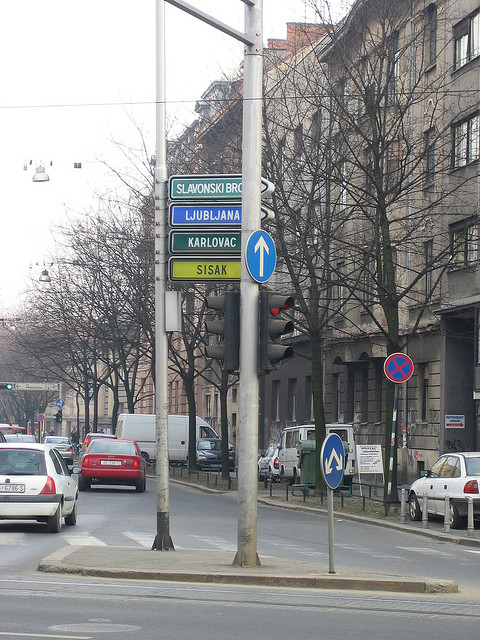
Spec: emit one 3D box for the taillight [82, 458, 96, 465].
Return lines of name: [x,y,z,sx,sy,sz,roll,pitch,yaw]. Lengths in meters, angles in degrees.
taillight: [-3.307,3.091,33.732,0.374,0.145,0.038,-6,-9,37]

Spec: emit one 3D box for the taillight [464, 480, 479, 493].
taillight: [3.761,2.682,24.732,0.150,0.209,0.160,9,-9,-30]

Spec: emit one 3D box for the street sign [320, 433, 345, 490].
street sign: [1.007,1.501,16.471,0.229,0.665,0.758,1,-9,3]

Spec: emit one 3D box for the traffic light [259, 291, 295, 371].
traffic light: [0.396,0.115,16.488,0.311,0.929,0.246,1,0,30]

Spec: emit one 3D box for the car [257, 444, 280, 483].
car: [0.936,4.169,44.929,0.792,1.108,1.649,1,3,-13]

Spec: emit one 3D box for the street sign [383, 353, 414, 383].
street sign: [3.083,0.895,29.291,0.501,0.798,0.084,1,5,6]

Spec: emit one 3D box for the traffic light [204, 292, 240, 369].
traffic light: [-0.184,0.115,16.635,0.375,0.894,0.515,1,-7,-2]

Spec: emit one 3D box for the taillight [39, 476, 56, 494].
taillight: [-2.660,2.295,21.317,0.163,0.349,0.171,3,-34,-6]

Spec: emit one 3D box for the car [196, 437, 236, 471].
car: [-1.055,4.908,56.341,0.969,1.175,1.970,1,-10,-8]

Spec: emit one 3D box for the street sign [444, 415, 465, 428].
street sign: [5.237,2.415,37.259,0.424,0.360,0.933,-1,-11,18]
